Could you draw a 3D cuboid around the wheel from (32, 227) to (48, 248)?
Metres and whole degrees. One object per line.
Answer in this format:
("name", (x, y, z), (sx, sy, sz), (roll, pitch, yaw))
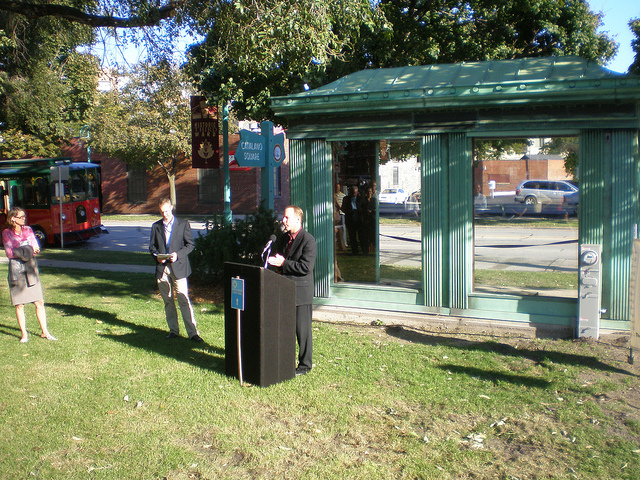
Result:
("wheel", (-8.647, -0.072, 18.308), (0.594, 0.725, 0.204), (5, 2, 31))

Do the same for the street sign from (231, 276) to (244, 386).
("street sign", (-1.118, 1.255, 8.207), (0.162, 1.461, 0.395), (-3, 12, -17))

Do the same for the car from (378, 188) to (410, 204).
("car", (5.637, -3.313, 44.894), (1.963, 0.819, 1.860), (1, 14, 1))

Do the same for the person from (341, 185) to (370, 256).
("person", (1.014, -0.602, 16.810), (0.721, 2.118, 0.632), (0, 30, 11))

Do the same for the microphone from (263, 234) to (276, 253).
("microphone", (-0.664, 0.034, 7.839), (0.092, 0.300, 0.084), (29, 15, 4))

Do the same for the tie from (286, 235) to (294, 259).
("tie", (-0.414, 0.074, 8.497), (0.049, 0.239, 0.152), (13, -5, -34))

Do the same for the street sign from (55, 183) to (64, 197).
("street sign", (-9.131, -1.744, 20.749), (0.378, 0.430, 0.100), (-5, 0, 10))

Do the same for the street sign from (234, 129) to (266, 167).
("street sign", (-1.423, -1.887, 12.261), (0.043, 0.776, 1.098), (6, 8, 27))

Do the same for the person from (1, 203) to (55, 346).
("person", (-4.773, 0.558, 9.623), (0.600, 2.221, 0.871), (-6, 13, -27))

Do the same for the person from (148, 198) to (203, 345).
("person", (-2.382, 0.515, 9.635), (0.794, 2.335, 0.542), (0, 12, -4))

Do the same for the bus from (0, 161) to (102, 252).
("bus", (-9.185, -1.167, 19.973), (4.115, 3.165, 2.601), (5, 5, 33))

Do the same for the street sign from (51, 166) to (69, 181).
("street sign", (-9.087, -2.315, 20.535), (0.442, 0.522, 0.130), (-2, 5, 4))

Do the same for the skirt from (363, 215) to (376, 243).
("skirt", (1.479, -0.356, 17.339), (0.255, 0.950, 1.288), (2, 13, 10))

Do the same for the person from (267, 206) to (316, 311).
("person", (-0.388, 0.323, 8.516), (0.678, 1.599, 0.606), (-4, 13, -18))
